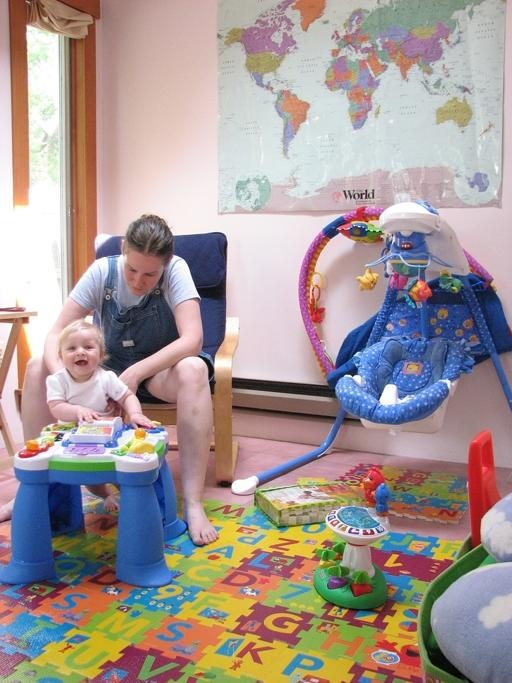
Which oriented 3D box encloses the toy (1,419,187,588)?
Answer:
[{"bbox_3d":[-0.378,0.330,1.368,0.403,0.301,0.378,1,10,-5],"label":"toy"}]
